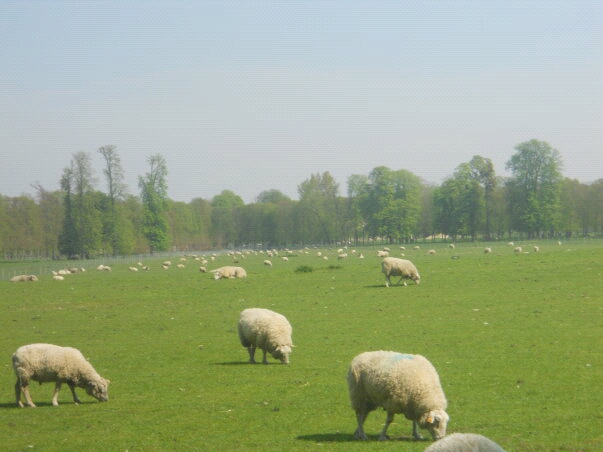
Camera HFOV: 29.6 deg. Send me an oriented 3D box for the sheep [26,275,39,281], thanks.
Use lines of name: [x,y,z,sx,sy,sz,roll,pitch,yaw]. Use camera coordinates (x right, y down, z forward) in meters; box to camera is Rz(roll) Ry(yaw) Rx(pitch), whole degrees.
sheep: [-9.250,1.808,39.136,0.456,0.212,0.161,11,6,40]

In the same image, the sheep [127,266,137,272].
sheep: [-5.685,1.466,38.215,0.191,0.178,0.499,-2,-2,11]

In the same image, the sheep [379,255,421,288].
sheep: [3.679,1.718,42.450,1.434,0.766,1.560,-2,-2,-1]

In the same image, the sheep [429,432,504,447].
sheep: [4.077,5.420,28.668,1.601,0.235,0.239,-2,-2,6]

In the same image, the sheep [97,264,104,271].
sheep: [-6.697,1.390,37.996,0.219,0.193,0.633,-2,-2,-10]

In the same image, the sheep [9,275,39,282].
sheep: [-9.408,1.810,38.619,0.570,0.235,0.205,2,13,-6]

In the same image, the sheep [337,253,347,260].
sheep: [1.484,1.116,41.058,0.134,0.196,0.383,17,17,39]

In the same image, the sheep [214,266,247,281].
sheep: [-2.885,1.893,44.869,1.376,0.542,0.502,2,-9,-27]

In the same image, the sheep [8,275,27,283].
sheep: [-9.487,1.789,38.169,0.467,0.242,0.134,-3,13,-18]

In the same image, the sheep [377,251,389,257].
sheep: [2.989,1.059,41.272,0.497,0.156,0.260,-7,-40,-2]

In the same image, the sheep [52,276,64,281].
sheep: [-8.639,1.894,40.477,0.495,0.154,0.260,1,2,2]

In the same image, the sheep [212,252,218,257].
sheep: [-3.180,1.100,41.599,0.292,0.152,0.294,1,2,0]

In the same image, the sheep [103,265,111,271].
sheep: [-6.511,1.427,38.179,0.254,0.178,0.545,-2,-2,-10]

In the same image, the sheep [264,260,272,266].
sheep: [-1.373,1.526,46.107,0.159,0.278,0.487,3,0,-39]

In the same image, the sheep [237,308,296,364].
sheep: [-1.074,3.597,35.890,1.227,1.658,2.504,-7,15,-32]

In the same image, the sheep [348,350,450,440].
sheep: [2.646,4.773,31.259,3.265,2.494,1.532,4,3,40]
